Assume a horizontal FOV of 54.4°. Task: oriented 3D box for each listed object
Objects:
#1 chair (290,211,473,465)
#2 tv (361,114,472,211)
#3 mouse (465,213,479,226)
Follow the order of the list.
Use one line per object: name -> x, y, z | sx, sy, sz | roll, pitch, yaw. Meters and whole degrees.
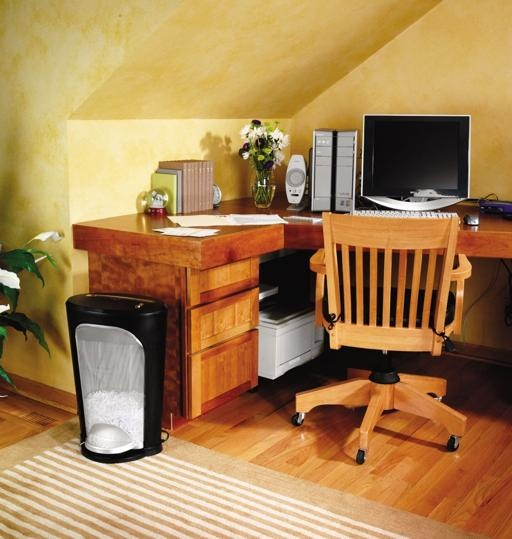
chair -> 0.501, 0.203, 1.894 | 0.635, 0.770, 0.632 | 4, 3, 25
tv -> 0.743, -0.503, 2.319 | 0.518, 0.439, 0.196 | 2, 5, 4
mouse -> 0.864, -0.201, 1.990 | 0.056, 0.027, 0.088 | -3, 12, 5
